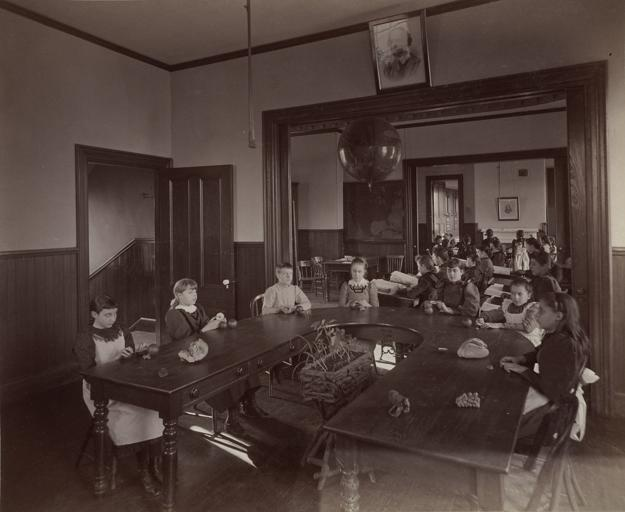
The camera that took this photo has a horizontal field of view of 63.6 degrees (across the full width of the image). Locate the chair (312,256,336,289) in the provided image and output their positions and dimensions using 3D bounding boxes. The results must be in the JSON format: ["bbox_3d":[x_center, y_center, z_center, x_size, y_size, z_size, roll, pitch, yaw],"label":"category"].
[{"bbox_3d":[0.114,0.281,9.232,0.427,0.724,0.383,1,2,40],"label":"chair"}]

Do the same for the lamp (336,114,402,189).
[{"bbox_3d":[0.435,-0.808,3.858,0.424,0.557,0.470,2,5,-8],"label":"lamp"}]

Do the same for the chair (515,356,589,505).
[{"bbox_3d":[1.485,1.095,3.093,0.351,0.997,0.681,2,5,35],"label":"chair"}]

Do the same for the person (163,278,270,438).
[{"bbox_3d":[-0.856,0.774,4.200,0.649,1.255,0.596,-7,-9,1],"label":"person"}]

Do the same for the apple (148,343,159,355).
[{"bbox_3d":[-1.119,0.658,3.541,0.050,0.051,0.060,6,11,33],"label":"apple"}]

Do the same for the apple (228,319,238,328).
[{"bbox_3d":[-0.671,0.568,4.215,0.060,0.053,0.066,-1,-1,15],"label":"apple"}]

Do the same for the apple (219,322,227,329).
[{"bbox_3d":[-0.739,0.575,4.151,0.046,0.052,0.051,-1,7,-2],"label":"apple"}]

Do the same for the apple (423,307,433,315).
[{"bbox_3d":[1.039,0.496,4.506,0.050,0.058,0.066,4,-2,6],"label":"apple"}]

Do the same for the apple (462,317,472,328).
[{"bbox_3d":[1.256,0.542,4.109,0.068,0.078,0.066,0,1,-40],"label":"apple"}]

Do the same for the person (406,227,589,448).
[{"bbox_3d":[1.556,0.553,3.805,1.149,1.817,0.940,4,3,35],"label":"person"}]
